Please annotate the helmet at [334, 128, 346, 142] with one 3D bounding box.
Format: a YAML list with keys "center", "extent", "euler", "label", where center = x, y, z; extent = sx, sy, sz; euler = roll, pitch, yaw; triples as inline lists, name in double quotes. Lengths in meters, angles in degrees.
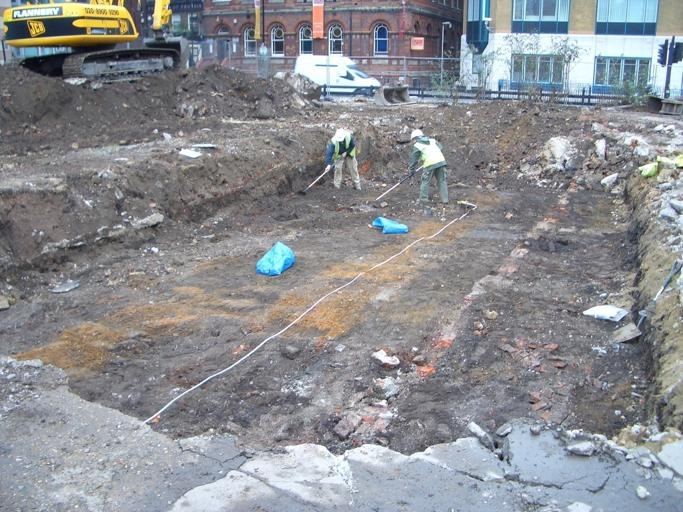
- center: [-0.037, -2.778, 13.341]
  extent: [0.269, 0.121, 0.394]
  euler: [1, 44, 14]
  label: "helmet"

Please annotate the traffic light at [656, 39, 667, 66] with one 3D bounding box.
- center: [12.633, -7.966, 22.524]
  extent: [0.346, 0.971, 1.837]
  euler: [8, 16, 27]
  label: "traffic light"

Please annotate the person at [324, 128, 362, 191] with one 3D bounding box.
- center: [0.053, -2.272, 13.793]
  extent: [0.783, 1.485, 1.029]
  euler: [1, 14, 3]
  label: "person"

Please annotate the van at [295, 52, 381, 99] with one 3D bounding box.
- center: [-0.229, -8.564, 27.611]
  extent: [4.317, 1.999, 2.043]
  euler: [0, 27, 1]
  label: "van"
